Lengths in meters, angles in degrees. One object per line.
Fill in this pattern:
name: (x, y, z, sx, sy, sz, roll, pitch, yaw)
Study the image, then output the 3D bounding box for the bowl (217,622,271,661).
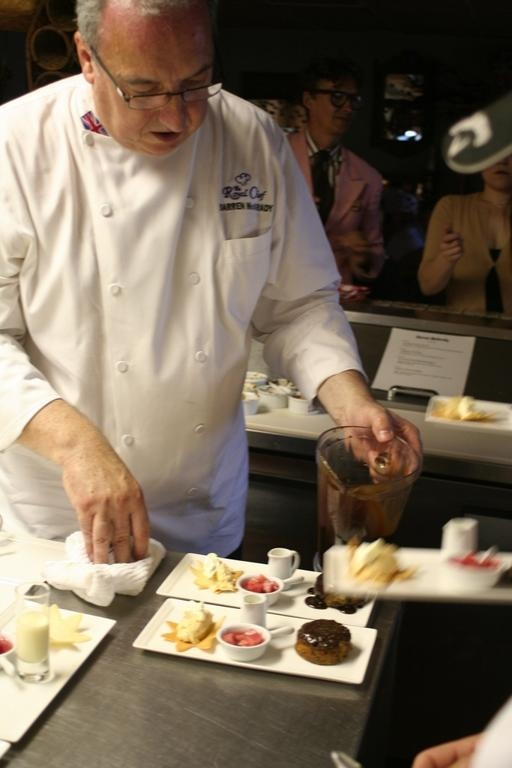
bowl: (-0.019, 0.390, 0.966, 0.078, 0.032, 0.081, 3, 11, -1)

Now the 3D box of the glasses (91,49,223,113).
glasses: (-0.173, -0.499, 1.053, 0.196, 0.097, 0.098, 0, 12, -16)

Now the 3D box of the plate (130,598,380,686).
plate: (-0.001, 0.402, 0.962, 0.239, 0.022, 0.140, 3, 5, 12)

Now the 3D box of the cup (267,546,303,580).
cup: (0.054, 0.348, 1.240, 0.075, 0.065, 0.043, -1, 6, -6)

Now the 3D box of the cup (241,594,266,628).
cup: (0.001, 0.368, 1.032, 0.033, 0.046, 0.050, 0, 9, 7)

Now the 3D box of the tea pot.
tea pot: (0.146, 0.169, 0.933, 0.125, 0.154, 0.135, -3, 35, 2)

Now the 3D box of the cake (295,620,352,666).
cake: (0.105, 0.391, 0.974, 0.084, 0.036, 0.091, 7, 11, 19)
